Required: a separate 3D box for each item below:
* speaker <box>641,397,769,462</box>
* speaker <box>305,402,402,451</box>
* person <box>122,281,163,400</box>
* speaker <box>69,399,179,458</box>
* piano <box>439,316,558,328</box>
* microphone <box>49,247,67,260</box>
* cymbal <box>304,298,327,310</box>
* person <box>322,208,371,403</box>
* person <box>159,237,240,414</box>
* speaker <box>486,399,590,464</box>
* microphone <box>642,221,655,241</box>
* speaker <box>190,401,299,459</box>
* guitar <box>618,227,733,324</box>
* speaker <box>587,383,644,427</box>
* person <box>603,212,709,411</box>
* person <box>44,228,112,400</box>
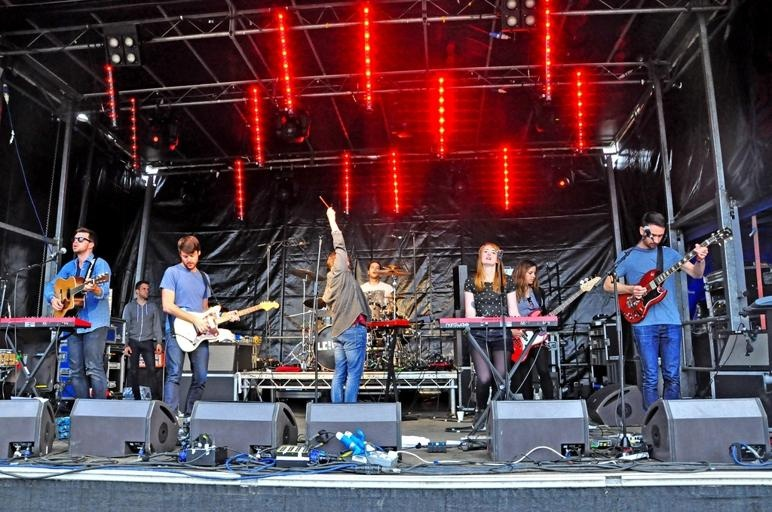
[{"bbox_3d":[2.840,1.393,6.943,0.798,0.542,0.583,1,-7,-2],"label":"speaker"},{"bbox_3d":[-0.243,1.605,7.080,0.709,0.493,0.395,3,-21,-12],"label":"speaker"},{"bbox_3d":[-3.502,1.167,10.973,0.539,1.740,0.851,2,-13,-18],"label":"person"},{"bbox_3d":[-2.502,1.566,7.051,0.774,0.481,0.541,0,4,6],"label":"speaker"},{"bbox_3d":[1.066,0.627,7.283,1.101,0.134,0.222,-3,-13,4],"label":"piano"},{"bbox_3d":[-4.530,-0.041,10.494,0.123,0.142,0.403,27,-1,-11],"label":"microphone"},{"bbox_3d":[-1.004,0.671,10.807,0.331,0.090,0.364,-4,-14,18],"label":"cymbal"},{"bbox_3d":[-0.419,0.503,8.065,0.479,2.031,0.436,-1,-12,-3],"label":"person"},{"bbox_3d":[-2.190,0.710,8.317,0.509,1.967,0.701,2,-12,-15],"label":"person"},{"bbox_3d":[1.343,1.530,7.045,0.749,0.491,0.557,0,-3,0],"label":"speaker"},{"bbox_3d":[2.654,-0.240,7.778,0.139,0.149,0.110,-4,4,3],"label":"microphone"},{"bbox_3d":[-1.375,1.631,7.280,0.845,0.561,0.616,-1,-3,8],"label":"speaker"},{"bbox_3d":[2.893,0.212,8.033,0.957,0.314,0.104,-36,-41,-12],"label":"guitar"},{"bbox_3d":[2.675,1.738,8.878,0.649,0.496,0.724,-4,-12,-2],"label":"speaker"},{"bbox_3d":[2.827,0.545,7.966,0.991,2.026,0.827,-7,-13,23],"label":"person"},{"bbox_3d":[-3.241,0.579,8.203,0.551,1.906,0.951,8,-15,-38],"label":"person"}]
